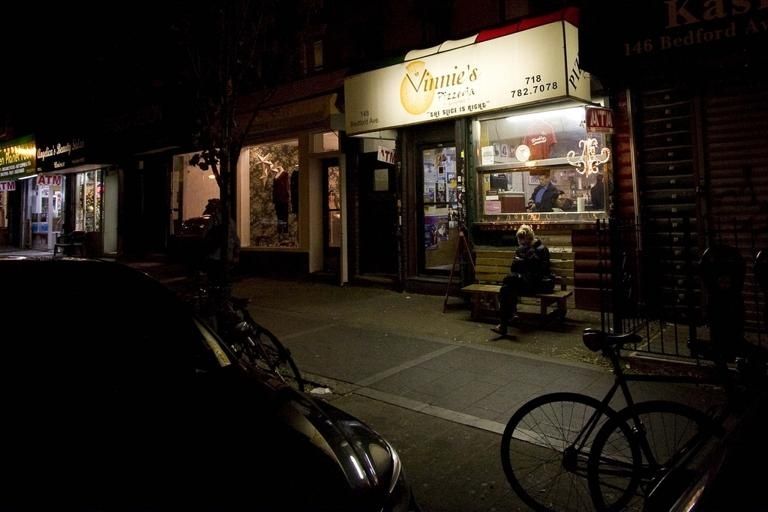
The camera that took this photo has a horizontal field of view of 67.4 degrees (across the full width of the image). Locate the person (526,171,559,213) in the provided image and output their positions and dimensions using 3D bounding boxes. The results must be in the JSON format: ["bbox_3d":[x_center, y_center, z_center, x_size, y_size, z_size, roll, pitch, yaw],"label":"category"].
[{"bbox_3d":[3.171,-1.290,11.344,0.185,0.810,0.618,-3,3,-43],"label":"person"}]

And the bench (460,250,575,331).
[{"bbox_3d":[2.343,0.548,10.317,1.860,1.200,0.831,1,5,33],"label":"bench"}]

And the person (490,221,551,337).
[{"bbox_3d":[2.324,0.390,9.589,1.186,1.776,0.516,-3,3,-33],"label":"person"}]

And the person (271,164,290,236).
[{"bbox_3d":[-2.842,-1.517,15.882,0.657,1.915,0.177,1,3,40],"label":"person"}]

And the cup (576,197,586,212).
[{"bbox_3d":[3.735,-0.979,10.851,0.096,0.261,0.218,-2,3,-32],"label":"cup"}]

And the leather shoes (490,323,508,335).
[{"bbox_3d":[1.903,1.195,9.405,0.125,0.223,0.307,-2,9,-31],"label":"leather shoes"}]
